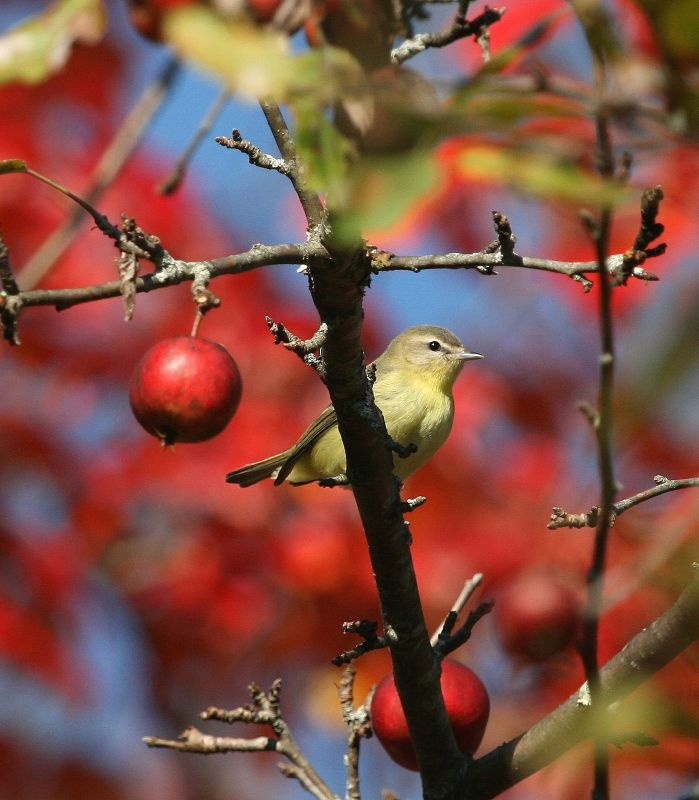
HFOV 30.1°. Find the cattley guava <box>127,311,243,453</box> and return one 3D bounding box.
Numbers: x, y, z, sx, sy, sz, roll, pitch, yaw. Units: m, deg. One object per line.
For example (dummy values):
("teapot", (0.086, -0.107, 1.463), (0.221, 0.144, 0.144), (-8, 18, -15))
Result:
("cattley guava", (-0.355, -0.023, 2.805), (0.239, 0.215, 0.160), (2, -1, -7))
